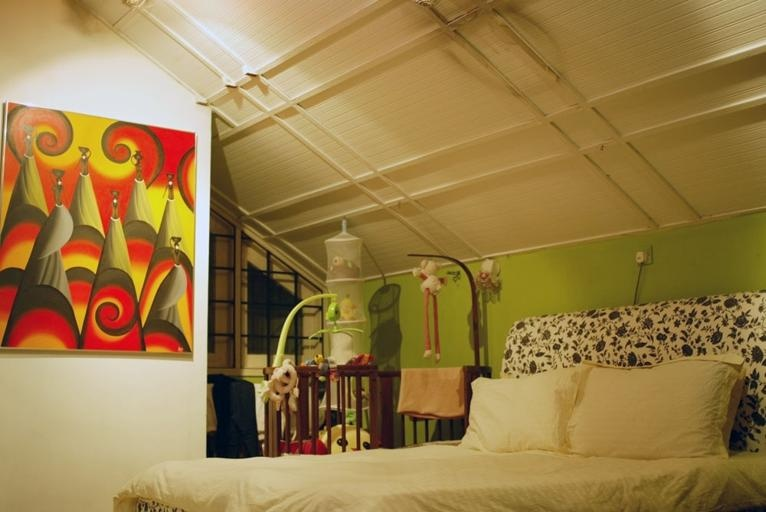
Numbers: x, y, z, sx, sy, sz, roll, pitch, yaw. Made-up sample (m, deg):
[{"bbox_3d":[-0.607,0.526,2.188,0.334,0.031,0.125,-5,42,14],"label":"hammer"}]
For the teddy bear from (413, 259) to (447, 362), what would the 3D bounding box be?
[{"bbox_3d":[0.485,0.559,5.832,0.291,0.996,0.776,-3,-17,5],"label":"teddy bear"}]

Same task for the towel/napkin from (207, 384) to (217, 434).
[{"bbox_3d":[-1.855,1.635,6.296,0.081,0.501,0.104,-12,-19,32],"label":"towel/napkin"}]

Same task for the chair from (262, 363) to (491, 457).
[{"bbox_3d":[-0.256,1.129,5.239,1.399,0.839,1.370,1,-5,-24],"label":"chair"}]

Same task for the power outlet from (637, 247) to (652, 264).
[{"bbox_3d":[2.145,-0.001,4.758,0.042,0.122,0.124,12,-14,-31],"label":"power outlet"}]

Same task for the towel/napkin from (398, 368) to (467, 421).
[{"bbox_3d":[0.423,1.200,5.134,0.657,0.445,0.101,6,-9,-22],"label":"towel/napkin"}]
